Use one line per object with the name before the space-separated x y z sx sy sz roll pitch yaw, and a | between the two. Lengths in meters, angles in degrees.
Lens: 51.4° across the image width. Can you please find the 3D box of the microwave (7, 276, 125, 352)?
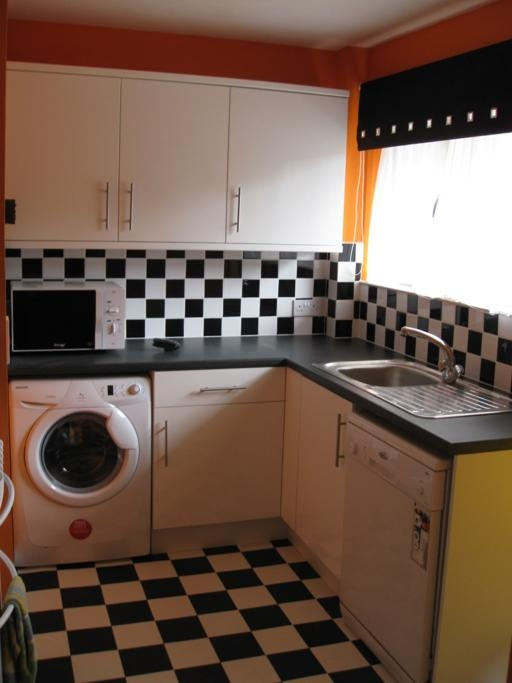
microwave | -0.794 -0.098 2.260 0.437 0.303 0.300 -2 9 -17

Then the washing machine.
washing machine | -0.717 0.503 2.557 0.715 1.102 0.707 -1 5 -16

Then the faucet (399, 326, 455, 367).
faucet | 0.720 0.020 2.216 0.056 0.117 0.310 -3 25 -40

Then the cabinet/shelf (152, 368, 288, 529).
cabinet/shelf | -0.160 0.397 2.681 0.684 1.020 0.658 -1 6 -13
